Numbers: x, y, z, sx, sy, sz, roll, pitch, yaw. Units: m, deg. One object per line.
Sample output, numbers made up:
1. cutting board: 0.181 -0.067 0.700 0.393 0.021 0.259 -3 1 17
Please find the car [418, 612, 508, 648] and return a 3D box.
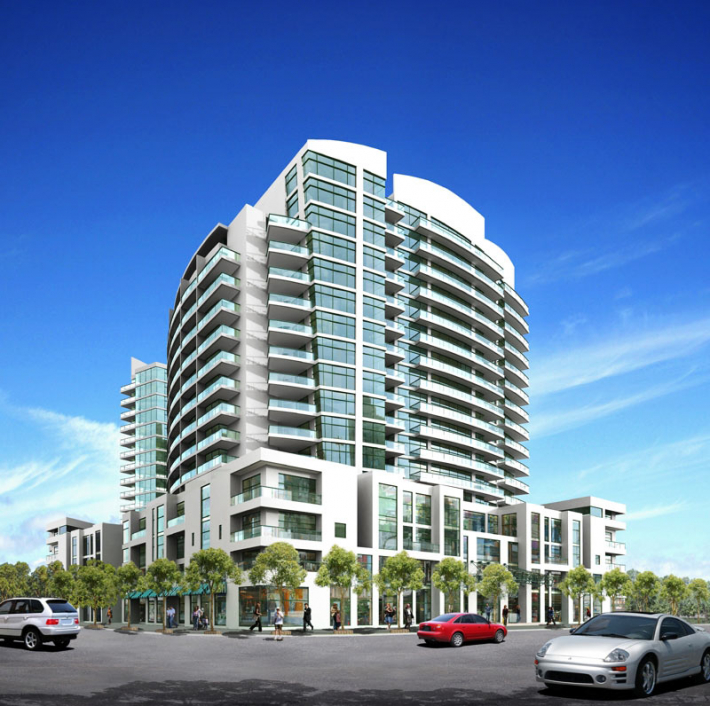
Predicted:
1. car: 4.601 11.810 45.300 3.705 1.026 1.619 4 -10 -33
